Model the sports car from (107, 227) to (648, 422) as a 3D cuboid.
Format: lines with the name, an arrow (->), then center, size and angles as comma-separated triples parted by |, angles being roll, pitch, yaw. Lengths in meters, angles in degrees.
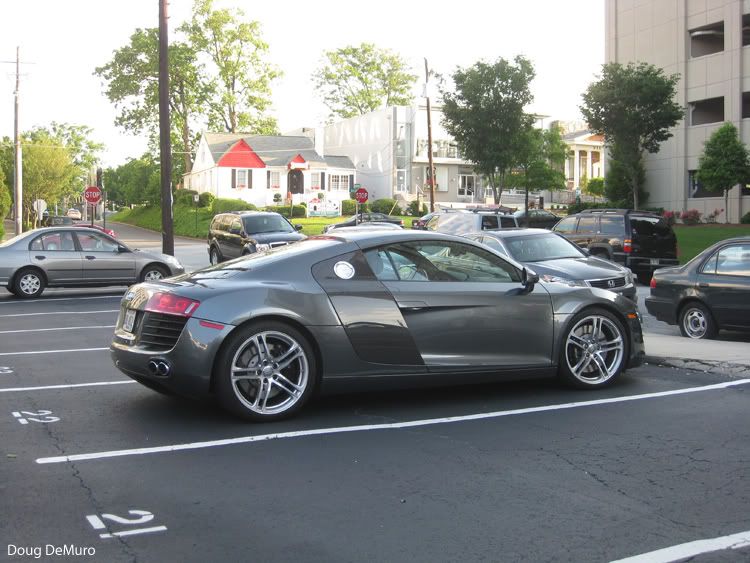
sports car -> 0.019, 0.277, 6.466 | 4.353, 1.319, 2.380 | -3, 4, -15
